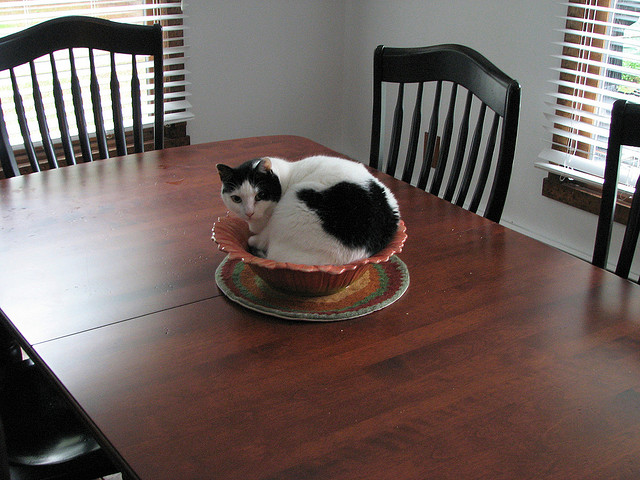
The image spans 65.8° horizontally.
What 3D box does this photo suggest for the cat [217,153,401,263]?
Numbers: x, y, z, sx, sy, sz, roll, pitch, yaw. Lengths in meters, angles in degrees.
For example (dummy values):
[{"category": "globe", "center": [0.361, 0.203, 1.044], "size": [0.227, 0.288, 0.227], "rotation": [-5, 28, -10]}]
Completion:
[{"category": "cat", "center": [-0.024, -0.068, 0.922], "size": [0.287, 0.123, 0.208], "rotation": [-6, 32, -26]}]
